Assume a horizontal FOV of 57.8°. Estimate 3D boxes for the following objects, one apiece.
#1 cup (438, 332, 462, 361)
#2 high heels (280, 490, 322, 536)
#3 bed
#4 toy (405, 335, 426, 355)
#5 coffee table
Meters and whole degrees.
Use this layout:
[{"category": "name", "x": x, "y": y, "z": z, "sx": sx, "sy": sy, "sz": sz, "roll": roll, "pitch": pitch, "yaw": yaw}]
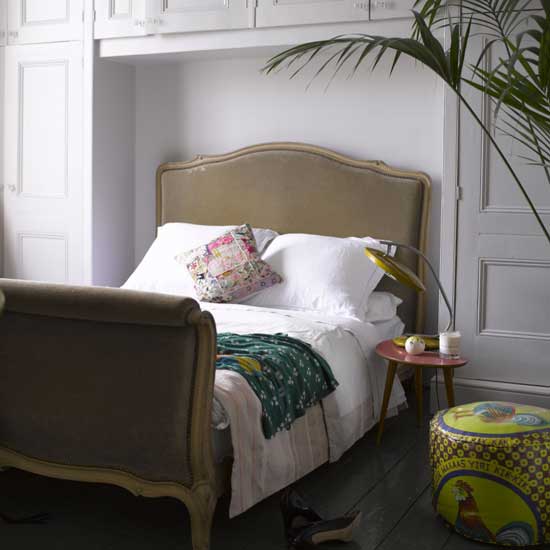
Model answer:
[{"category": "cup", "x": 0.859, "y": 0.358, "z": 2.457, "sx": 0.100, "sy": 0.129, "sz": 0.107, "roll": 1, "pitch": -2, "yaw": 0}, {"category": "high heels", "x": 0.072, "y": 0.787, "z": 1.657, "sx": 0.069, "sy": 0.093, "sz": 0.213, "roll": -23, "pitch": -12, "yaw": -20}, {"category": "bed", "x": -0.314, "y": -0.025, "z": 2.504, "sx": 1.374, "sy": 1.482, "sz": 2.041, "roll": 4, "pitch": 3, "yaw": 27}, {"category": "toy", "x": 0.682, "y": 0.340, "z": 2.443, "sx": 0.079, "sy": 0.086, "sz": 0.080, "roll": -7, "pitch": 18, "yaw": -35}, {"category": "coffee table", "x": 0.721, "y": 0.525, "z": 2.568, "sx": 0.435, "sy": 0.556, "sz": 0.491, "roll": 1, "pitch": 6, "yaw": 12}]
